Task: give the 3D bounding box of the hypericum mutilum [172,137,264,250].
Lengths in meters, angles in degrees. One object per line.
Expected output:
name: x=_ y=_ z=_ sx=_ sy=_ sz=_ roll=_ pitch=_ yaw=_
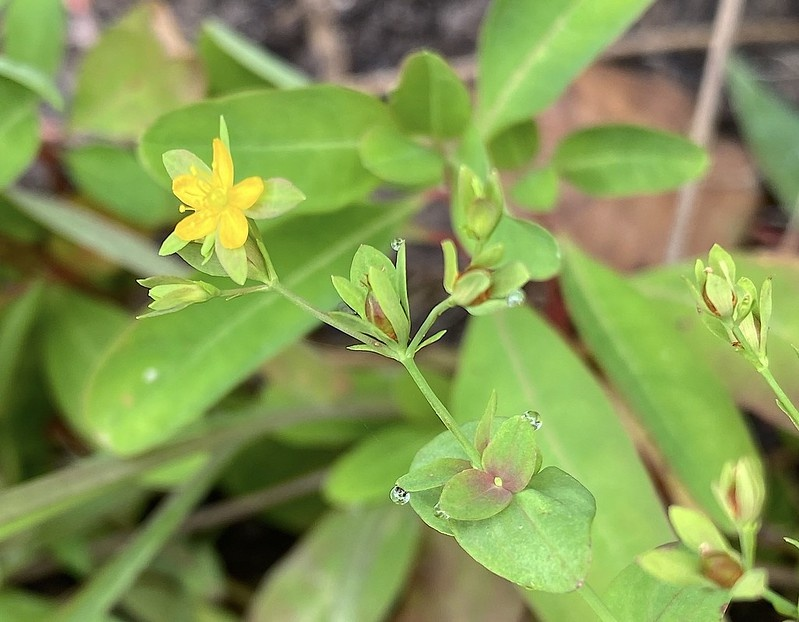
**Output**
hypericum mutilum: x=-0.107 y=-0.066 z=0.412 sx=0.020 sy=0.049 sz=0.042 roll=42 pitch=38 yaw=0
